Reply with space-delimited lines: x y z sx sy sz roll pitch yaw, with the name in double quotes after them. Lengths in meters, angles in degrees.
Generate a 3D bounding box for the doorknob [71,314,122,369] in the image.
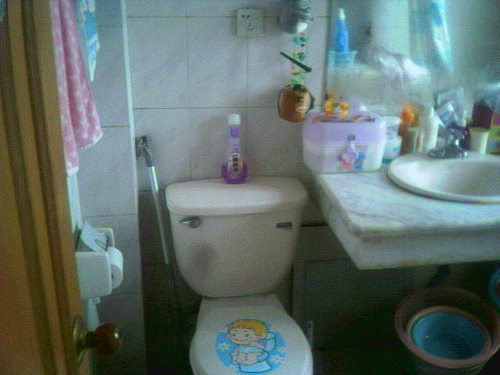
-0.193 0.190 0.559 0.054 0.084 0.084 -8 19 -17 "doorknob"

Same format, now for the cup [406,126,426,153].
0.574 -0.167 1.540 0.061 0.092 0.030 3 20 16 "cup"

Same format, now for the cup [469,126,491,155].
0.786 -0.167 1.528 0.069 0.087 0.037 8 22 29 "cup"

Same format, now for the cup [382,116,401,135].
0.492 -0.217 1.536 0.075 0.069 0.073 -3 25 1 "cup"
